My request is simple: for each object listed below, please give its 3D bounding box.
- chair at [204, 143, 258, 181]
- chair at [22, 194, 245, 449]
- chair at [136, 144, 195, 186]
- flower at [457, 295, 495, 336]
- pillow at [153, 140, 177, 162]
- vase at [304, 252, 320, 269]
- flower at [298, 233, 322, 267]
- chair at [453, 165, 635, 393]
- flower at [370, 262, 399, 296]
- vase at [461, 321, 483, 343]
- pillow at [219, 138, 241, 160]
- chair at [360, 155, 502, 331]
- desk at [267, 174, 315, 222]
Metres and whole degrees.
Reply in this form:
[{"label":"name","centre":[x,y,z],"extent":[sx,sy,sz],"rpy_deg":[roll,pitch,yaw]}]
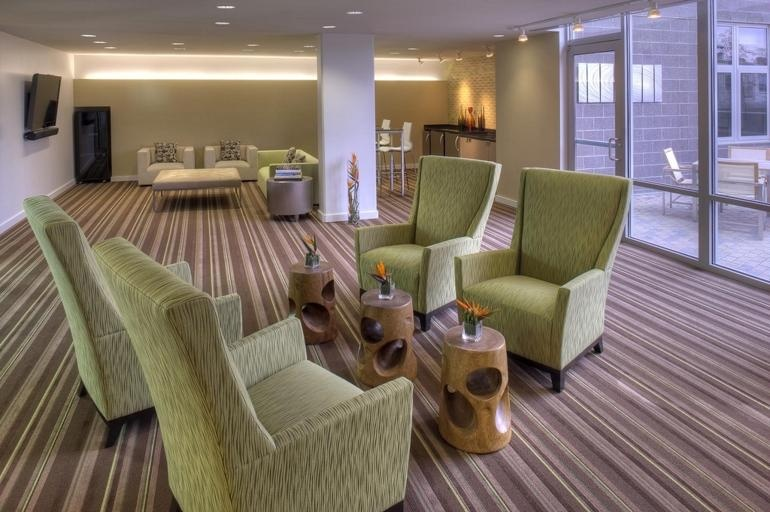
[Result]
[{"label":"chair","centre":[-4.360,-2.591,12.904],"extent":[1.297,1.077,0.791],"rpy_deg":[-6,18,-22]},{"label":"chair","centre":[-1.931,0.299,3.957],"extent":[1.626,2.192,1.325],"rpy_deg":[-6,12,-36]},{"label":"chair","centre":[-6.156,-2.465,12.773],"extent":[1.320,1.184,0.990],"rpy_deg":[-5,13,-26]},{"label":"flower","centre":[0.614,0.478,3.198],"extent":[0.171,0.262,0.255],"rpy_deg":[-1,9,-20]},{"label":"pillow","centre":[-6.260,-2.947,12.877],"extent":[0.557,0.663,0.221],"rpy_deg":[0,-9,-21]},{"label":"vase","centre":[-0.739,0.055,4.592],"extent":[0.120,0.181,0.168],"rpy_deg":[1,6,17]},{"label":"flower","centre":[-0.750,-0.041,4.555],"extent":[0.159,0.373,0.174],"rpy_deg":[-4,2,-19]},{"label":"chair","centre":[1.380,0.121,4.074],"extent":[1.074,1.631,1.120],"rpy_deg":[-16,20,-42]},{"label":"flower","centre":[-0.043,0.207,3.970],"extent":[0.196,0.360,0.283],"rpy_deg":[-9,8,-38]},{"label":"vase","centre":[0.596,0.541,3.155],"extent":[0.119,0.142,0.129],"rpy_deg":[1,3,23]},{"label":"pillow","centre":[-4.491,-3.054,13.087],"extent":[0.627,0.812,0.262],"rpy_deg":[0,0,-6]},{"label":"chair","centre":[0.434,-0.189,5.077],"extent":[1.265,1.817,1.367],"rpy_deg":[9,11,30]},{"label":"desk","centre":[-1.870,-1.112,8.881],"extent":[0.847,0.773,0.343],"rpy_deg":[-7,15,-16]}]
